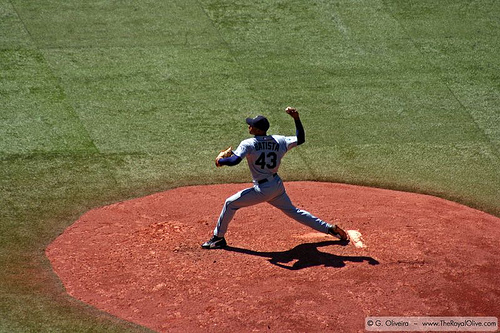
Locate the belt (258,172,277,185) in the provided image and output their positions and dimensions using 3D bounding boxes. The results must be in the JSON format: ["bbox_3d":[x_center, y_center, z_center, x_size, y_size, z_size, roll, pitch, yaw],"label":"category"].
[{"bbox_3d":[0.311,0.221,12.248,0.242,0.081,0.168,-27,2,-9],"label":"belt"}]

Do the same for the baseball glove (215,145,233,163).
[{"bbox_3d":[-0.506,-0.237,13.098,0.438,0.149,0.247,-40,26,19],"label":"baseball glove"}]
